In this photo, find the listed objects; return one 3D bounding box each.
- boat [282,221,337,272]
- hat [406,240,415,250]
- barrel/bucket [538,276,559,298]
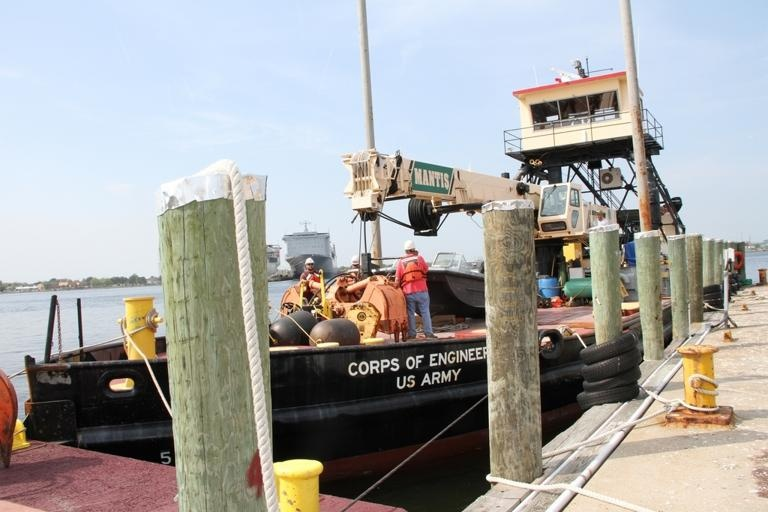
[{"bbox_3d":[-8.169,-0.533,79.478,5.088,6.042,16.091,0,4,6],"label":"boat"},{"bbox_3d":[0.425,-0.216,11.615,0.189,0.156,0.279,-2,8,0],"label":"hat"},{"bbox_3d":[3.696,0.700,15.812,0.508,0.509,0.506,-1,3,0],"label":"barrel/bucket"}]
